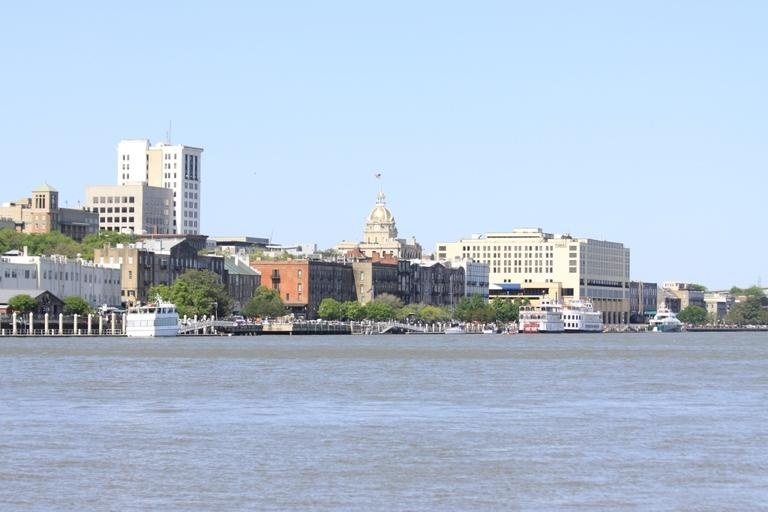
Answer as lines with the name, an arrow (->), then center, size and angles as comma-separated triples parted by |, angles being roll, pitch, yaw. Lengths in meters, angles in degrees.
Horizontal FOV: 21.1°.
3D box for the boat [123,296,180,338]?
boat -> -35.138, 9.528, 317.697 | 5.645, 4.176, 9.638 | 2, 3, 18
